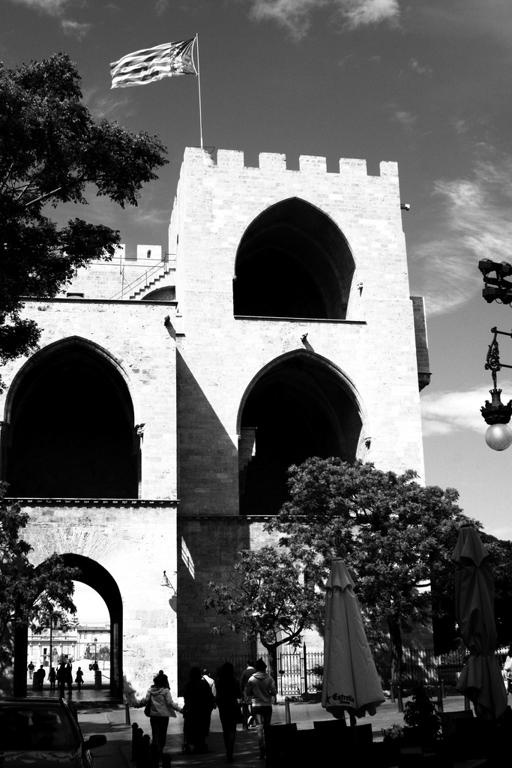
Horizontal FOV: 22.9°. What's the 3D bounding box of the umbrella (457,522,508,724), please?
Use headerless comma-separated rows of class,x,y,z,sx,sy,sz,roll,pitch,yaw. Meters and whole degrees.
umbrella,2.535,2.705,14.400,0.530,2.192,0.432,-2,-11,9

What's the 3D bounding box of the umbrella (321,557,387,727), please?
umbrella,1.046,2.936,14.430,0.672,1.878,1.051,1,-11,-5

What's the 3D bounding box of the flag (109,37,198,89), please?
flag,-2.391,-7.541,29.496,2.520,1.005,0.442,-15,8,-38
